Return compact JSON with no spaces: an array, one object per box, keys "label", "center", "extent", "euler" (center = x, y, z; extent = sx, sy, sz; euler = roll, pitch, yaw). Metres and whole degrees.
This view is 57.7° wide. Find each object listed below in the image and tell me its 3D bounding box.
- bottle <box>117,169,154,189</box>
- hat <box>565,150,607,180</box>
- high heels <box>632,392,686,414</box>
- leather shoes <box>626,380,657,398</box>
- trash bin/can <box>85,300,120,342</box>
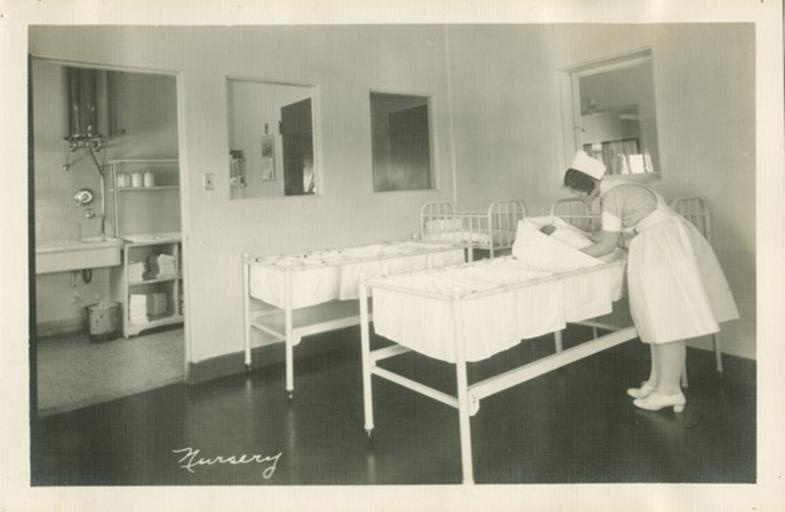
[{"label":"bottle","center":[-1.947,-0.585,5.445],"extent":[0.291,0.125,0.108],"euler":[-8,12,-26]},{"label":"hat","center":[1.048,-0.500,3.813],"extent":[0.161,0.168,0.052],"euler":[24,0,2]},{"label":"high heels","center":[1.421,0.770,3.847],"extent":[0.294,0.125,0.115],"euler":[3,-2,3]},{"label":"leather shoes","center":[1.322,0.694,3.803],"extent":[0.196,0.089,0.072],"euler":[-1,1,-29]},{"label":"trash bin/can","center":[-2.007,0.451,4.987],"extent":[0.249,0.250,0.204],"euler":[-10,13,-35]}]
